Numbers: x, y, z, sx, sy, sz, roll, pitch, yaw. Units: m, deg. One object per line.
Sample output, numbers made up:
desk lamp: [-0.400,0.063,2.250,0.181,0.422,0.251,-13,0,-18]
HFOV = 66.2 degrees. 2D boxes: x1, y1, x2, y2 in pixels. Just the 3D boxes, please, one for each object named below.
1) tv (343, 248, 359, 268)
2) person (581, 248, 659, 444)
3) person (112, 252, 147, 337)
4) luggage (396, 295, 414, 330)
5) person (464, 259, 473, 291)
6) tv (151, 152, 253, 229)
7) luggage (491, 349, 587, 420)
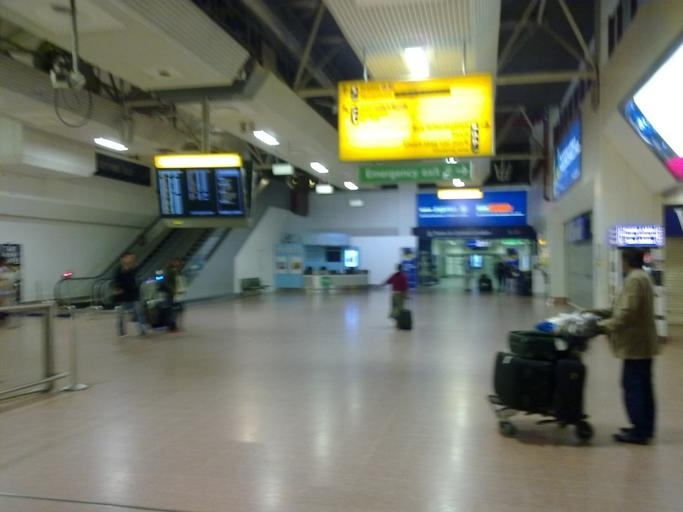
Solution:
tv: [0.463,0.063,26.446,0.822,0.977,0.217,1,2,30]
person: [2.932,0.877,5.365,0.533,1.927,0.480,0,2,24]
person: [-4.433,0.875,11.007,0.724,1.933,0.596,-8,18,-31]
luggage: [1.388,1.242,11.730,0.342,0.744,0.302,0,2,5]
person: [6.660,0.830,27.400,0.378,1.614,1.065,0,2,14]
tv: [-2.742,-1.390,10.478,1.671,1.405,0.989,-3,17,-6]
luggage: [2.081,1.233,5.663,0.923,0.939,0.695,-4,33,12]
